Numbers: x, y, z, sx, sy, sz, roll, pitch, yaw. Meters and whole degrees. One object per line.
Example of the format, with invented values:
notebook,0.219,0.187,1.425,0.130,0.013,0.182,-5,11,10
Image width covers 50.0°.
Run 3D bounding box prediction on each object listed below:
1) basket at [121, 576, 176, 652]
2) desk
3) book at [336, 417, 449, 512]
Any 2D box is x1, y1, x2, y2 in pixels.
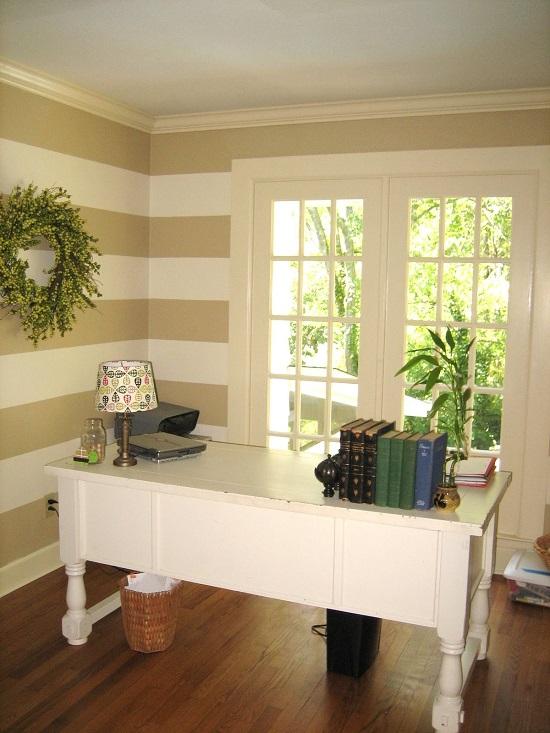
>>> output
basket,-0.499,0.965,2.366,0.279,0.295,0.273,0,5,-12
desk,-0.015,0.760,2.205,1.546,0.775,0.610,1,1,27
book,0.370,0.271,1.856,0.263,0.265,0.201,6,9,27
